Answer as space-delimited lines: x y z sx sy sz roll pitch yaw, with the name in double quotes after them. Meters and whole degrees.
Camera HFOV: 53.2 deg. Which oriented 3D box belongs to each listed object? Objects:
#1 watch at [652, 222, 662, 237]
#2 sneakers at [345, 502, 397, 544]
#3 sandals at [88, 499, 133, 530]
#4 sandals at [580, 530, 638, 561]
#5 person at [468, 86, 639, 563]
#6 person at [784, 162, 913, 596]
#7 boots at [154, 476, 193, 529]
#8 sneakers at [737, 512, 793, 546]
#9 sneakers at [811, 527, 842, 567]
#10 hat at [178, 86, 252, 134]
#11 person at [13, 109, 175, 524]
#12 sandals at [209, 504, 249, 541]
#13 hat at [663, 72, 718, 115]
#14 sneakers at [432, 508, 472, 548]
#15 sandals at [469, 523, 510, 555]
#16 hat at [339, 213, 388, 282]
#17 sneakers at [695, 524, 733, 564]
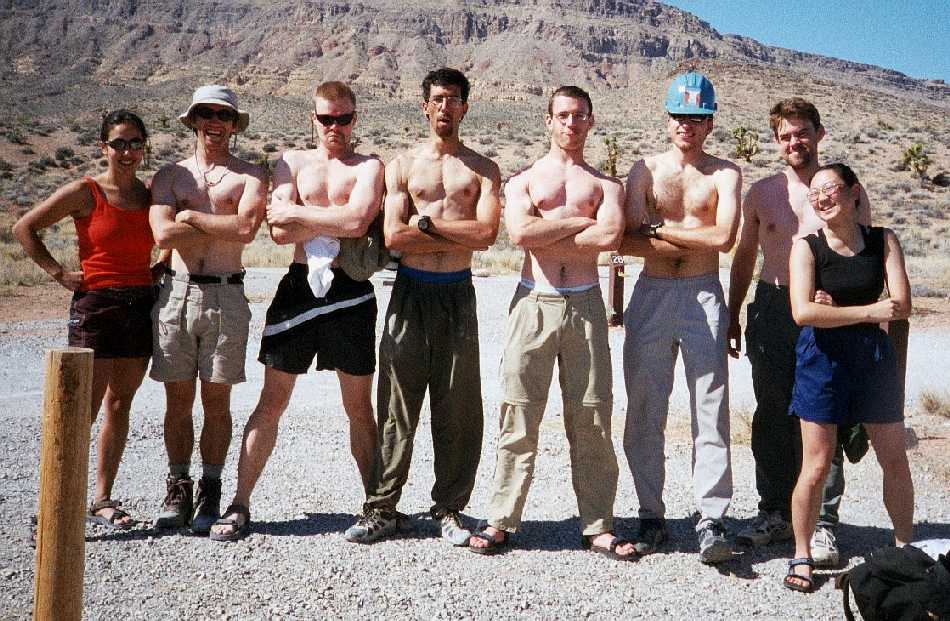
1.470 -0.655 7.633 0.068 0.101 0.105 7 -15 28 "watch"
-0.788 1.697 7.663 0.508 0.278 0.190 -5 11 -33 "sneakers"
-2.960 1.648 7.719 0.381 0.166 0.186 8 6 29 "sandals"
1.088 1.853 7.499 0.335 0.109 0.192 9 13 32 "sandals"
0.686 0.058 7.560 1.105 3.660 0.811 2 9 2 "person"
2.857 0.500 7.152 0.974 3.161 0.764 4 9 15 "person"
-2.470 1.553 7.803 0.193 0.412 0.578 4 3 -1 "boots"
2.376 1.742 7.732 0.539 0.251 0.199 -1 15 -18 "sneakers"
2.769 1.863 7.444 0.164 0.186 0.453 -1 0 9 "sneakers"
-2.147 -1.736 7.896 0.500 0.302 0.607 5 5 9 "hat"
-3.018 0.031 7.731 0.890 3.328 1.069 -5 11 -37 "person"
-1.989 1.690 7.703 0.221 0.222 0.574 9 5 -3 "sandals"
1.821 -1.796 7.852 0.368 0.386 0.641 4 9 14 "hat"
-0.173 1.749 7.665 0.159 0.169 0.405 0 8 -27 "sneakers"
0.128 1.825 7.530 0.156 0.160 0.366 -3 -14 24 "sandals"
-0.796 -0.527 7.796 0.470 0.589 0.321 -6 30 -39 "hat"
1.896 1.809 7.423 0.277 0.302 0.299 4 9 14 "sneakers"
